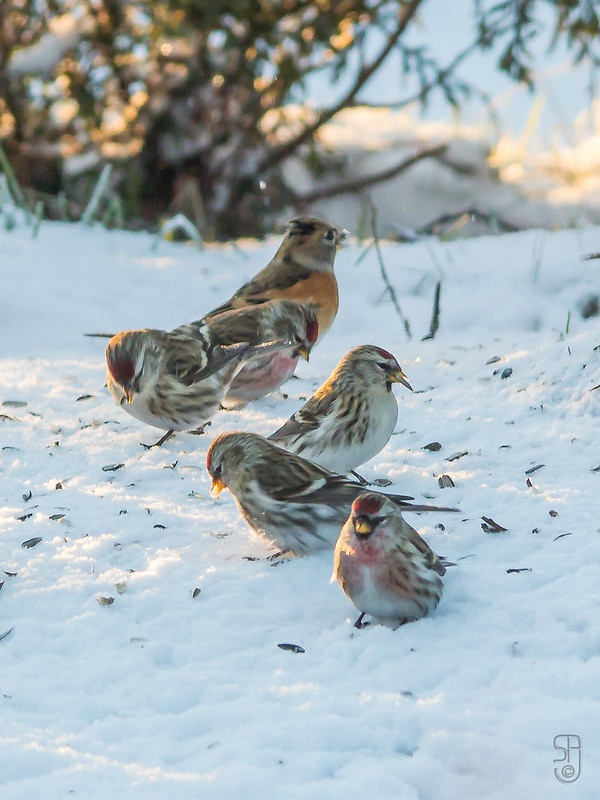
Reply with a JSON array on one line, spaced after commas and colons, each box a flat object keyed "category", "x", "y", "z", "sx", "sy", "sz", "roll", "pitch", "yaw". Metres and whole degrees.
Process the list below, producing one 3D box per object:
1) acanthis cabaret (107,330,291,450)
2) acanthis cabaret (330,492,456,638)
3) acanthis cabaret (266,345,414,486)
[{"category": "acanthis cabaret", "x": -0.495, "y": -0.204, "z": 5.314, "sx": 1.170, "sy": 0.594, "sz": 0.495, "roll": -29, "pitch": 32, "yaw": -31}, {"category": "acanthis cabaret", "x": 0.322, "y": 0.574, "z": 3.443, "sx": 0.439, "sy": 0.427, "sz": 0.621, "roll": 0, "pitch": -2, "yaw": 22}, {"category": "acanthis cabaret", "x": 0.180, "y": 0.013, "z": 4.598, "sx": 0.743, "sy": 0.619, "sz": 0.508, "roll": -1, "pitch": 15, "yaw": 2}]
